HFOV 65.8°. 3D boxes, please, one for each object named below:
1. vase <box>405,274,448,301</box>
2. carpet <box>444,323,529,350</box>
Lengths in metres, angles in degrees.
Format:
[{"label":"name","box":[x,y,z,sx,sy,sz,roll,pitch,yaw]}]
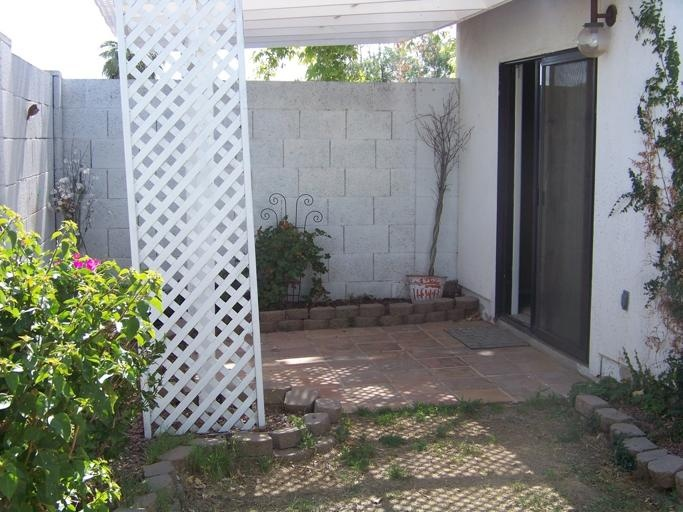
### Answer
[{"label":"vase","box":[1.164,0.430,7.149,0.528,0.330,0.507,-2,7,3]},{"label":"carpet","box":[1.668,0.939,6.301,0.724,0.047,1.004,-3,7,-9]}]
